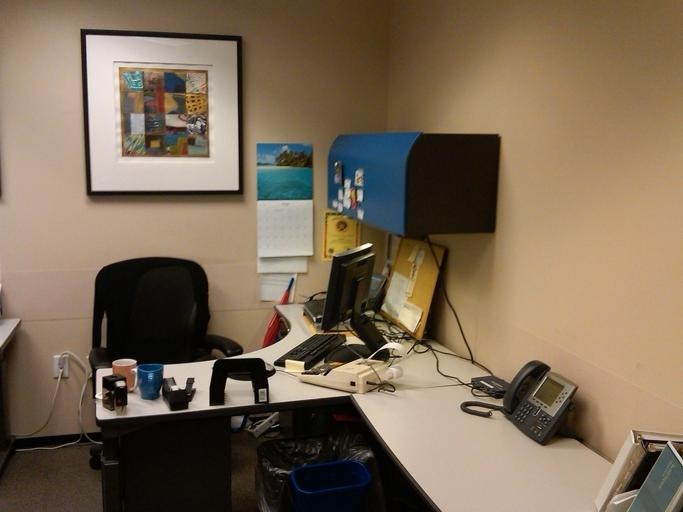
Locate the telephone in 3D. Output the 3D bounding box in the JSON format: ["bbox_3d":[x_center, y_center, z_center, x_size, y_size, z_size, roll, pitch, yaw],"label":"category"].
[{"bbox_3d":[0.779,0.578,2.020,0.197,0.269,0.257,-7,10,-23],"label":"telephone"}]

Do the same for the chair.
[{"bbox_3d":[-0.993,0.611,2.859,0.734,1.070,0.677,5,10,-35],"label":"chair"}]

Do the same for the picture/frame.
[{"bbox_3d":[-1.095,-0.884,3.019,0.956,1.027,0.039,-1,4,-13],"label":"picture/frame"}]

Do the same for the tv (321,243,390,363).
[{"bbox_3d":[0.113,0.244,2.590,0.271,0.531,0.398,6,13,27],"label":"tv"}]
